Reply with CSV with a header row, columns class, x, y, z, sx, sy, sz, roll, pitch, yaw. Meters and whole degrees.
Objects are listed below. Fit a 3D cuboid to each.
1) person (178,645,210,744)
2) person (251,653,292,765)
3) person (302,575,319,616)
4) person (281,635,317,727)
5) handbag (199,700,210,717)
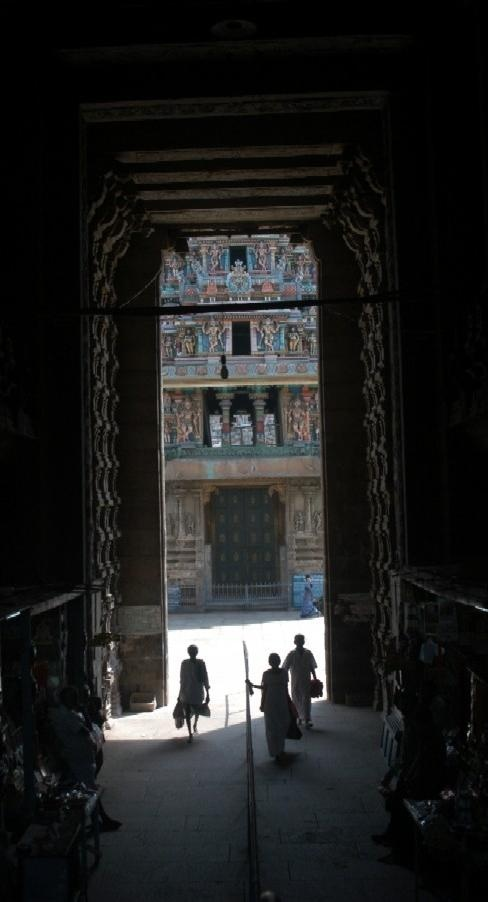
class,x,y,z,sx,sy,sz,roll,pitch,yaw
person,-0.680,3.192,10.669,0.384,1.172,0.898,-1,-7,-6
person,0.339,3.023,9.460,0.410,1.169,0.616,-2,-6,2
person,1.843,4.097,22.457,0.446,1.142,0.826,-3,-7,16
person,0.789,3.203,11.279,0.433,1.389,0.258,-1,13,18
handbag,-0.530,3.460,10.676,0.119,0.229,0.398,-2,-7,1
